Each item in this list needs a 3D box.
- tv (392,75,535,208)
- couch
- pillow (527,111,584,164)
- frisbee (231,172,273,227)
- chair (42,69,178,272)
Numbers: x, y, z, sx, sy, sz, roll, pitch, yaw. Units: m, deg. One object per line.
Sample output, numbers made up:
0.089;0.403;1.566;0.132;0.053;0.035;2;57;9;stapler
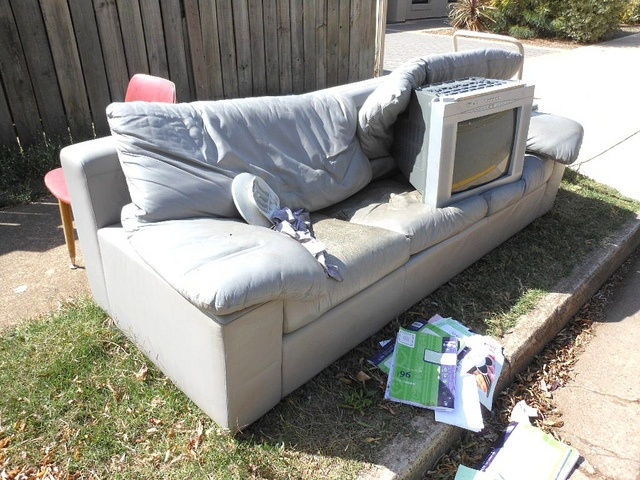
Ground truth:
0.863;-0.897;3.444;0.946;0.914;0.774;-8;30;-29;tv
0.370;-0.474;3.491;1.491;1.535;3.741;21;35;40;couch
1.784;-0.732;3.724;0.404;0.114;0.455;19;61;17;pillow
-0.381;-0.219;2.593;0.061;0.266;0.283;-17;60;34;frisbee
-1.425;-0.393;3.460;0.997;1.415;0.979;-24;38;-36;chair
